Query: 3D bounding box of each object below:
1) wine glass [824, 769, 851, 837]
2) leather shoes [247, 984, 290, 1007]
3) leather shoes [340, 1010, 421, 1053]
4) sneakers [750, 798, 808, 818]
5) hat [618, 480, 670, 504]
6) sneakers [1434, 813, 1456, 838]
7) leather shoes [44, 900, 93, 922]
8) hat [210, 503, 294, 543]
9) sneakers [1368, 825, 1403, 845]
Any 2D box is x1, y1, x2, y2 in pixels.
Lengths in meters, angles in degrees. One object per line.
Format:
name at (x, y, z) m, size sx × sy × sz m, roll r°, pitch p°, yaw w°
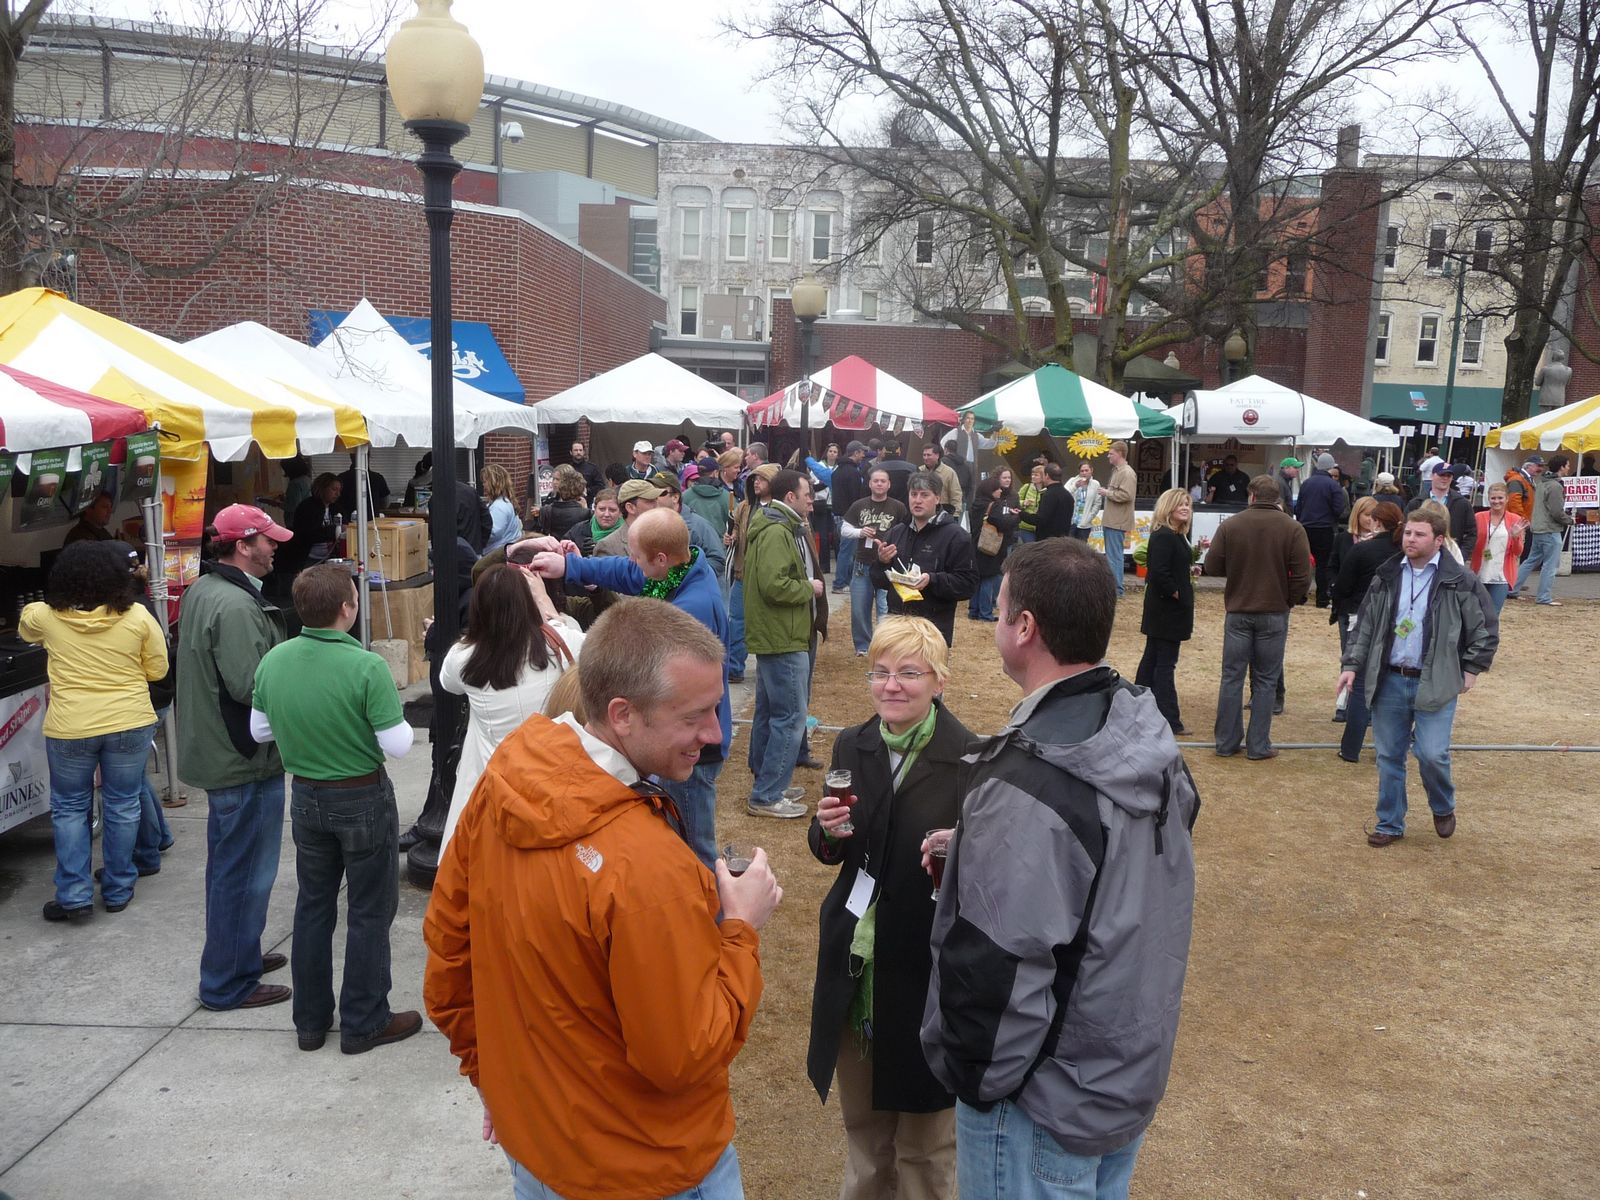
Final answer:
wine glass at (0.155, 0.801, 6.370) m, size 0.099 × 0.224 × 0.269 m, roll 2°, pitch 15°, yaw 1°
leather shoes at (-2.802, 2.067, 8.141) m, size 0.224 × 0.114 × 0.080 m, roll -2°, pitch 11°, yaw -6°
leather shoes at (-2.109, 2.151, 7.780) m, size 0.376 × 0.181 × 0.142 m, roll -10°, pitch 12°, yaw -40°
sneakers at (-0.173, 1.447, 10.965) m, size 0.330 × 0.175 × 0.154 m, roll 0°, pitch 1°, yaw 1°
hat at (-0.996, -0.668, 9.625) m, size 0.212 × 0.116 × 0.157 m, roll -7°, pitch 11°, yaw -4°
sneakers at (4.471, 1.569, 10.784) m, size 0.098 × 0.094 × 0.223 m, roll -10°, pitch 36°, yaw 31°
leather shoes at (-4.201, 1.760, 8.831) m, size 0.289 × 0.126 × 0.122 m, roll 3°, pitch 14°, yaw 4°
hat at (-3.008, -0.409, 8.479) m, size 0.352 × 0.204 × 0.227 m, roll 3°, pitch 16°, yaw -41°
sneakers at (4.042, 1.638, 10.726) m, size 0.280 × 0.123 × 0.100 m, roll 10°, pitch -11°, yaw -41°
